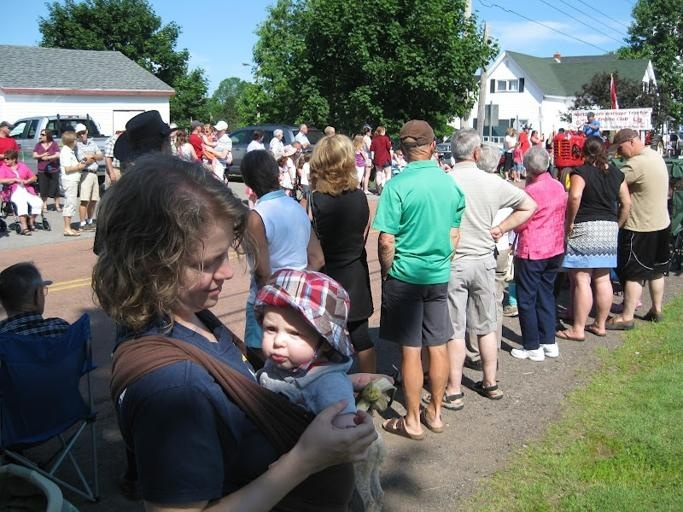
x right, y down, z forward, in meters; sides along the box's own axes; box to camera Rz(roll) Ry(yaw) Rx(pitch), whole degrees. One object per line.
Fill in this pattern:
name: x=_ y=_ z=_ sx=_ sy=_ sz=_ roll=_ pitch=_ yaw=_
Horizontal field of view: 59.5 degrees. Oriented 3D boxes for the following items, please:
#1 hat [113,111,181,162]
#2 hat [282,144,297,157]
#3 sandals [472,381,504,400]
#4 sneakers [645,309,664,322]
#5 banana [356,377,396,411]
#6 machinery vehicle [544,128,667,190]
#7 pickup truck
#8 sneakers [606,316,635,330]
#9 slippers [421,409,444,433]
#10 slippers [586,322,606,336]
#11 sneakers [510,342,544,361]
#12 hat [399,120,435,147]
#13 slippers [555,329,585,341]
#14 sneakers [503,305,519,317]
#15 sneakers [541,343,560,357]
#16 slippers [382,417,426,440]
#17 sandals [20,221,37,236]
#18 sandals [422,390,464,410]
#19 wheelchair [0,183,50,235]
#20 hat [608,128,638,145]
hat: x=-1.419 y=-0.846 z=4.249 sx=0.363 sy=0.357 sz=0.914 roll=-5 pitch=16 yaw=-21
hat: x=-1.265 y=-2.598 z=14.839 sx=0.362 sy=0.364 sz=0.111 roll=-33 pitch=-34 yaw=16
sandals: x=1.386 y=1.271 z=5.667 sx=0.129 sy=0.110 sz=0.257 roll=-7 pitch=16 yaw=-32
sneakers: x=3.976 y=0.760 z=7.561 sx=0.104 sy=0.107 sz=0.237 roll=-1 pitch=6 yaw=8
banana: x=0.144 y=0.598 z=2.666 sx=0.187 sy=0.070 sz=0.205 roll=11 pitch=31 yaw=5
machinery vehicle: x=3.120 y=-1.175 z=7.499 sx=1.480 sy=0.832 sz=0.437 roll=-10 pitch=9 yaw=-38
pickup truck: x=-8.016 y=-2.757 z=16.879 sx=2.160 sy=1.952 sz=3.887 roll=-7 pitch=18 yaw=-39
sneakers: x=3.434 y=0.849 z=7.351 sx=0.300 sy=0.132 sz=0.155 roll=6 pitch=8 yaw=20
slippers: x=0.773 y=1.413 z=5.059 sx=0.096 sy=0.107 sz=0.284 roll=-5 pitch=15 yaw=-13
slippers: x=3.061 y=0.882 z=7.221 sx=0.092 sy=0.127 sz=0.285 roll=-8 pitch=22 yaw=-14
sneakers: x=2.015 y=1.021 z=6.452 sx=0.323 sy=0.165 sz=0.147 roll=5 pitch=5 yaw=28
hat: x=0.625 y=-0.988 z=4.866 sx=0.268 sy=0.196 sz=0.268 roll=3 pitch=15 yaw=6
slippers: x=2.701 y=0.947 z=7.053 sx=0.266 sy=0.118 sz=0.134 roll=11 pitch=9 yaw=28
sneakers: x=2.199 y=0.737 z=7.755 sx=0.261 sy=0.136 sz=0.101 roll=1 pitch=1 yaw=-10
sneakers: x=2.299 y=1.038 z=6.516 sx=0.094 sy=0.101 sz=0.219 roll=-3 pitch=12 yaw=0
slippers: x=0.526 y=1.405 z=4.974 sx=0.295 sy=0.130 sz=0.155 roll=14 pitch=12 yaw=36
sandals: x=-5.937 y=-0.503 z=11.309 sx=0.140 sy=0.099 sz=0.358 roll=-8 pitch=24 yaw=-33
sandals: x=0.940 y=1.274 z=5.488 sx=0.378 sy=0.149 sz=0.274 roll=4 pitch=15 yaw=11
wheelchair: x=-6.143 y=-0.884 z=11.484 sx=0.975 sy=1.287 sz=0.688 roll=5 pitch=11 yaw=34
hat: x=3.435 y=-1.404 z=7.241 sx=0.256 sy=0.146 sz=0.186 roll=3 pitch=23 yaw=44
